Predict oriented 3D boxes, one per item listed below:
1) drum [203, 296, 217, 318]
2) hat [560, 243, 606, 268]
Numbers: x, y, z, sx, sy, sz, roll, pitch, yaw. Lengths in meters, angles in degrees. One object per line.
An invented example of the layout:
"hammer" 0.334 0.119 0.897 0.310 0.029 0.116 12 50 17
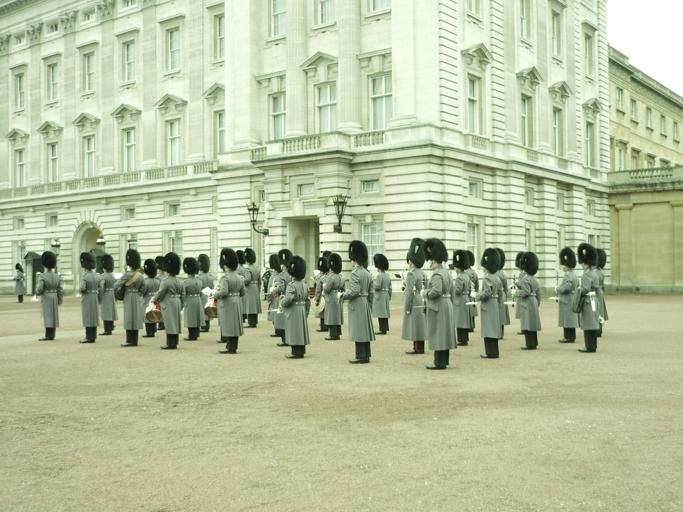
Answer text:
"drum" -3.028 1.229 24.622 0.361 0.405 0.418 14 -21 -31
"hat" 5.599 -0.002 24.968 1.108 0.652 0.761 2 3 18
